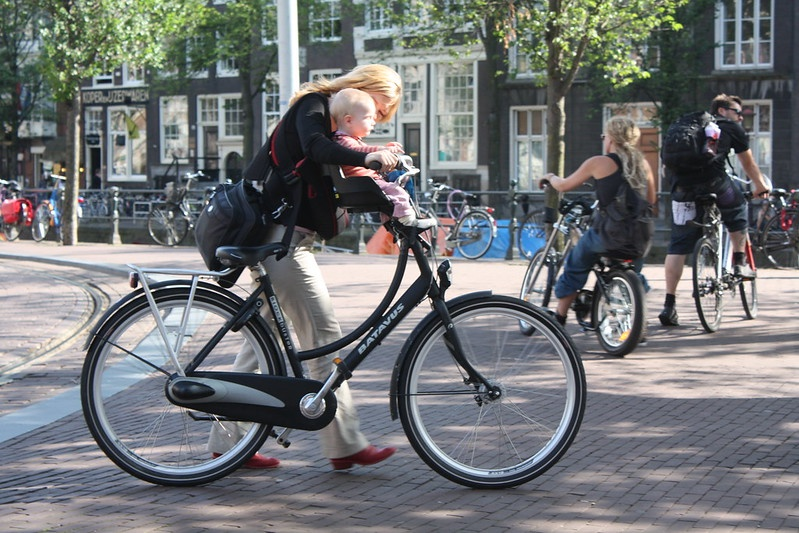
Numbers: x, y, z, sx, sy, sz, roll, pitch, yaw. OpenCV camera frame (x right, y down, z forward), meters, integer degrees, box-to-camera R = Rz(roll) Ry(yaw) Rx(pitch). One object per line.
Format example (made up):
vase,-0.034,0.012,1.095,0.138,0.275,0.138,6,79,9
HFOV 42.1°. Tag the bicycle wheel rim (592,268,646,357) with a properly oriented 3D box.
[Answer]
bicycle wheel rim,2.039,0.422,9.689,0.331,0.790,0.568,-4,15,-11

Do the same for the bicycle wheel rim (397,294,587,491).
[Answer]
bicycle wheel rim,0.603,0.875,6.961,1.502,1.191,0.266,-6,2,-2

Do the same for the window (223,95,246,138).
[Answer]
window,-5.996,-5.519,38.482,1.218,1.413,0.067,8,8,43

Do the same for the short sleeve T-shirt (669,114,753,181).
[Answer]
short sleeve T-shirt,3.182,-1.240,10.854,0.941,0.642,0.851,-1,-15,11

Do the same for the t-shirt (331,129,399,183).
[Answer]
t-shirt,-0.200,-0.735,6.900,0.420,0.318,0.378,1,14,7

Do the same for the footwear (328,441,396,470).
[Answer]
footwear,-0.240,1.309,7.199,0.500,0.158,0.160,-14,4,3

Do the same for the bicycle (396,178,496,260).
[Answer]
bicycle,0.917,-0.842,19.540,1.441,1.464,2.864,6,-3,-32

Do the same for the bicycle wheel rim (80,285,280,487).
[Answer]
bicycle wheel rim,-1.408,0.796,6.902,1.656,1.355,0.176,2,-2,-2

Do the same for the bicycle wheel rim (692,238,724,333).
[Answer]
bicycle wheel rim,3.122,0.186,10.560,0.310,0.934,0.469,3,15,16

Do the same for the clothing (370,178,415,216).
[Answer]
clothing,-0.003,-0.437,6.983,0.198,0.276,0.140,-27,1,-43
